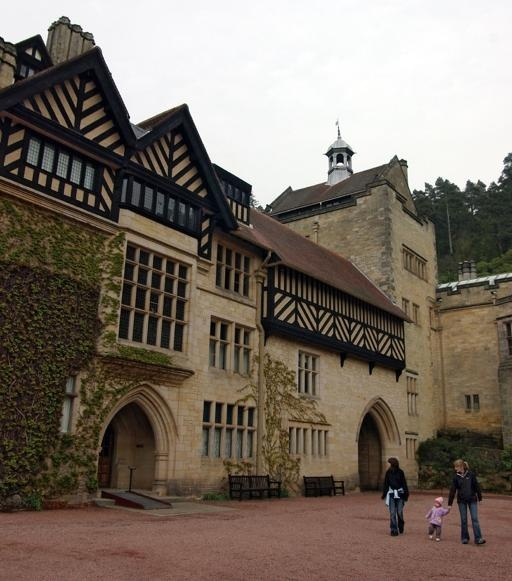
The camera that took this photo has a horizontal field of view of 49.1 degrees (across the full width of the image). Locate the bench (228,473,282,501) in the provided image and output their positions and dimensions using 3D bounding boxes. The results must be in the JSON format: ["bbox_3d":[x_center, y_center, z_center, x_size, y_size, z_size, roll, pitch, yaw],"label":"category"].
[{"bbox_3d":[0.029,5.054,14.406,0.763,0.604,2.442,-6,-18,21],"label":"bench"}]

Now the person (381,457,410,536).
[{"bbox_3d":[2.250,3.294,9.080,0.376,1.127,1.556,-3,-17,12],"label":"person"}]

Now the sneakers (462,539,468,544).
[{"bbox_3d":[2.884,3.451,7.731,0.042,0.047,0.123,1,-13,10],"label":"sneakers"}]

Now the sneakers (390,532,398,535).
[{"bbox_3d":[2.038,3.586,8.275,0.099,0.053,0.115,-3,-17,13],"label":"sneakers"}]

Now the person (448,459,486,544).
[{"bbox_3d":[2.947,2.974,7.917,0.420,1.096,0.746,-5,-18,20],"label":"person"}]
